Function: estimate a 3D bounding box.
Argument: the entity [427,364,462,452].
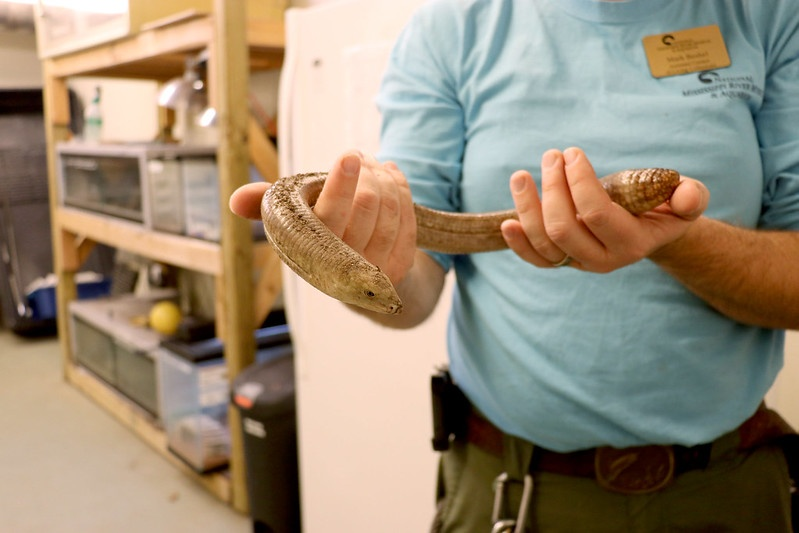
[{"bbox_3d":[0.105,0.351,1.534,0.113,0.159,0.039,-1,-4,41],"label":"entity"}]

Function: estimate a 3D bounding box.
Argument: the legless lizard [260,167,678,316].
[{"bbox_3d":[0.143,-0.049,1.307,0.788,0.207,0.355,-9,35,-12],"label":"legless lizard"}]

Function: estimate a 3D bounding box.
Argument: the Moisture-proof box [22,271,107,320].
[{"bbox_3d":[-0.854,0.068,1.611,0.153,0.050,0.149,-6,-3,-45],"label":"Moisture-proof box"}]
